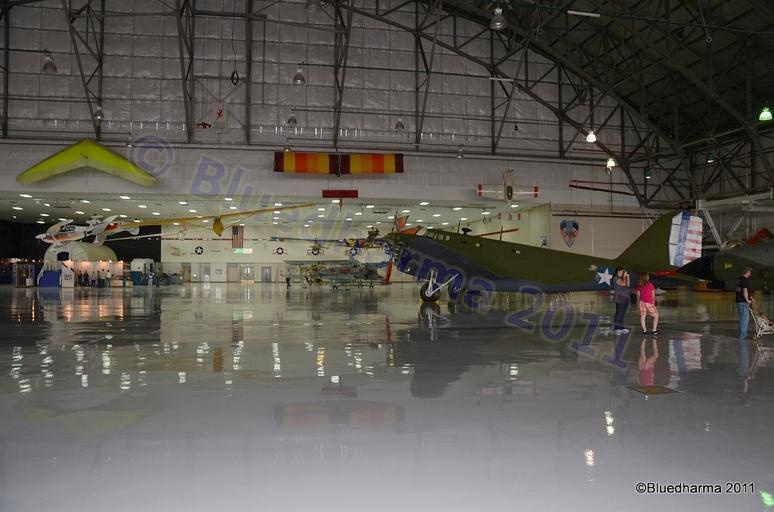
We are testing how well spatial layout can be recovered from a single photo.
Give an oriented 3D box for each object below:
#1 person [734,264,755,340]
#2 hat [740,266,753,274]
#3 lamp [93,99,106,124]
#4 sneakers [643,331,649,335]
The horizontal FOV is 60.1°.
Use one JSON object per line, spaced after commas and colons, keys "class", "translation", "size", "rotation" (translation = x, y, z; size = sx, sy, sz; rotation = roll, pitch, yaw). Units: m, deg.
{"class": "person", "translation": [9.904, 1.279, 18.530], "size": [0.395, 1.500, 1.186], "rotation": [3, 2, 28]}
{"class": "hat", "translation": [10.948, 0.402, 20.318], "size": [0.175, 0.286, 0.147], "rotation": [-21, 34, -27]}
{"class": "lamp", "translation": [-13.630, -6.980, 31.714], "size": [0.442, 1.195, 1.516], "rotation": [1, 2, -23]}
{"class": "sneakers", "translation": [7.324, 2.171, 18.890], "size": [0.133, 0.086, 0.136], "rotation": [-2, 0, 10]}
